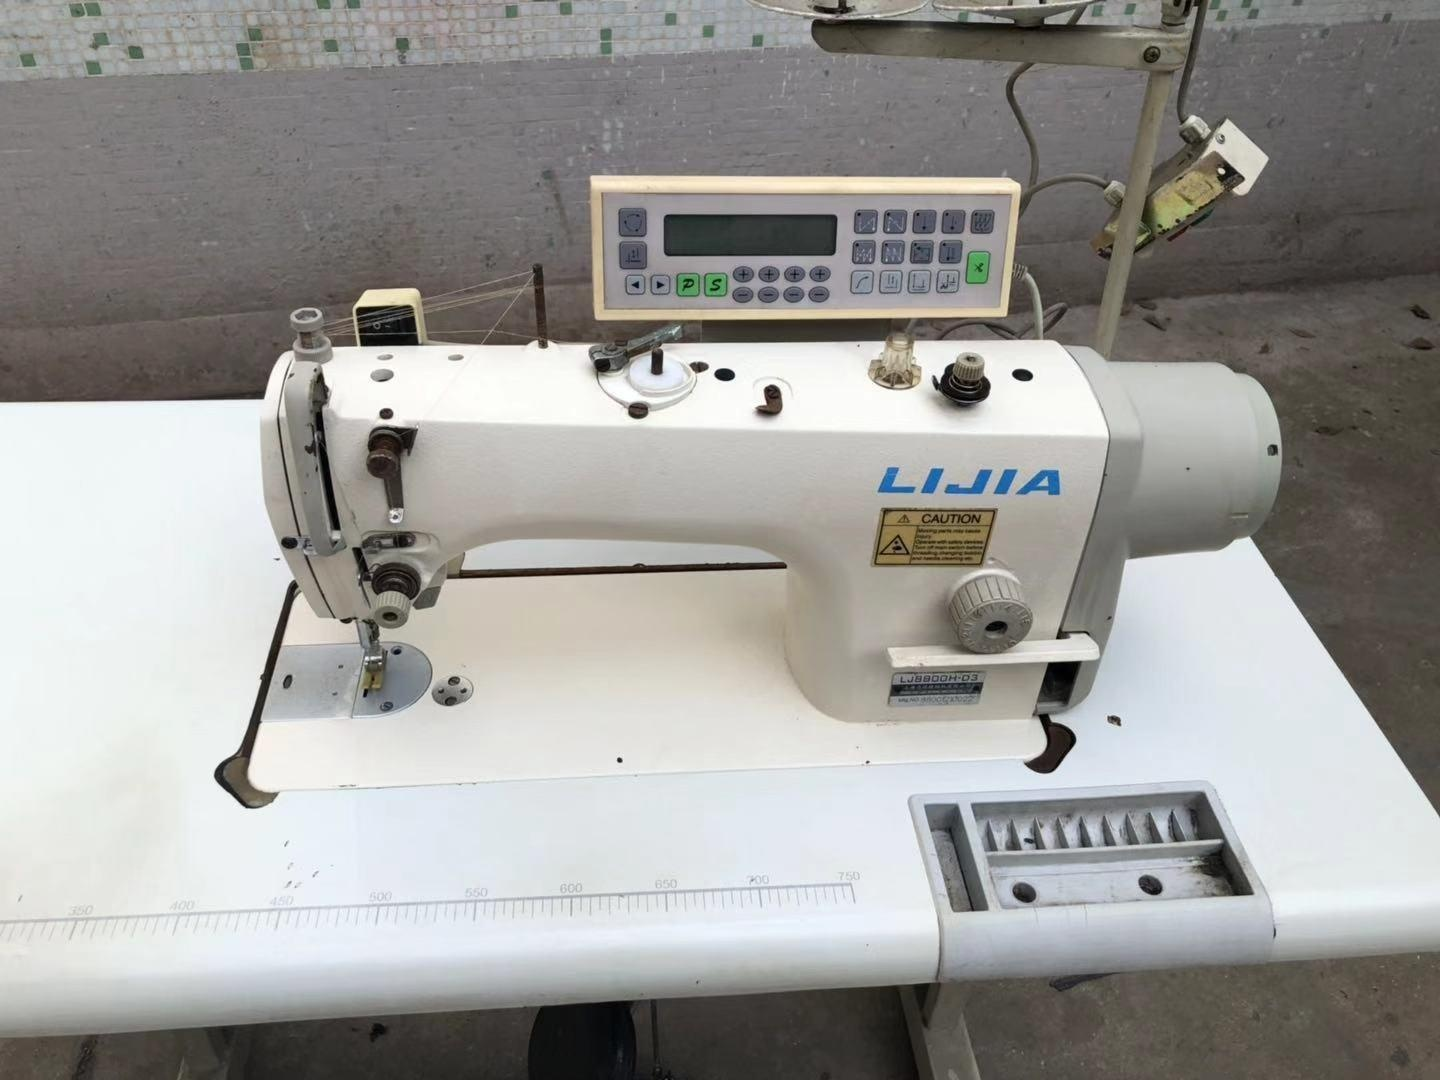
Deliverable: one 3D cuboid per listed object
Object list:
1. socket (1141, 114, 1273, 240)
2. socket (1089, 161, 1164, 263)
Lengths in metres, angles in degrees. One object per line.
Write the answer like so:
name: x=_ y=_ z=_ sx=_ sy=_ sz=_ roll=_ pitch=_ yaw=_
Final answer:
socket: x=0.894 y=-0.691 z=2.105 sx=0.140 sy=0.267 sz=0.078 roll=31 pitch=76 yaw=-12
socket: x=0.843 y=-0.636 z=2.184 sx=0.071 sy=0.192 sz=0.103 roll=8 pitch=50 yaw=-57
